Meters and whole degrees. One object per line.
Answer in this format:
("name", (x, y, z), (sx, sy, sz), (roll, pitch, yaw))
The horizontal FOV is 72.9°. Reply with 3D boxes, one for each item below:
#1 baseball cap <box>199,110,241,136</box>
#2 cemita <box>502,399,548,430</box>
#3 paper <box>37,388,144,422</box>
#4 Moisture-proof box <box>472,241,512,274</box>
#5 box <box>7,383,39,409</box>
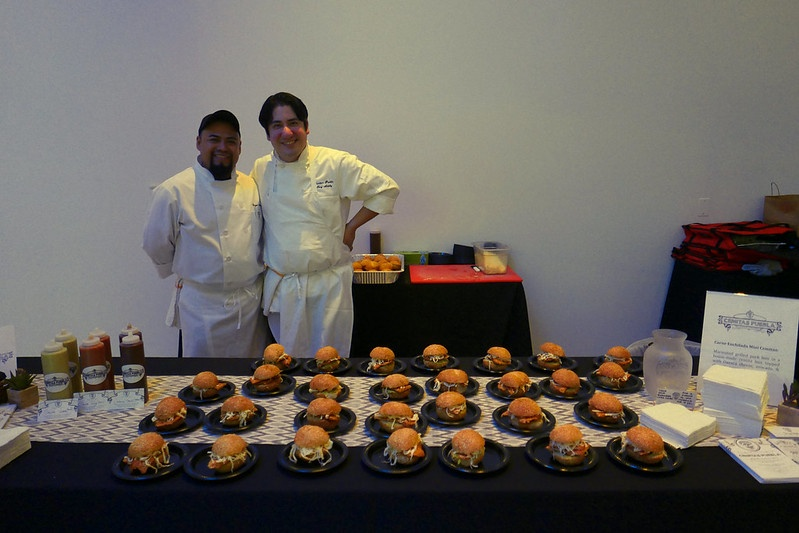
("baseball cap", (-1.112, -0.882, 3.321), (0.212, 0.144, 0.149), (-5, 9, -29))
("cemita", (0.555, 0.682, 2.450), (0.134, 0.080, 0.133), (4, 5, 29))
("paper", (-1.476, 0.659, 2.577), (0.343, 0.069, 0.187), (0, 3, -12))
("Moisture-proof box", (0.751, -0.056, 4.481), (0.261, 0.232, 0.338), (-1, 8, 2))
("box", (-1.823, 0.643, 2.634), (0.097, 0.102, 0.147), (0, -1, 25))
